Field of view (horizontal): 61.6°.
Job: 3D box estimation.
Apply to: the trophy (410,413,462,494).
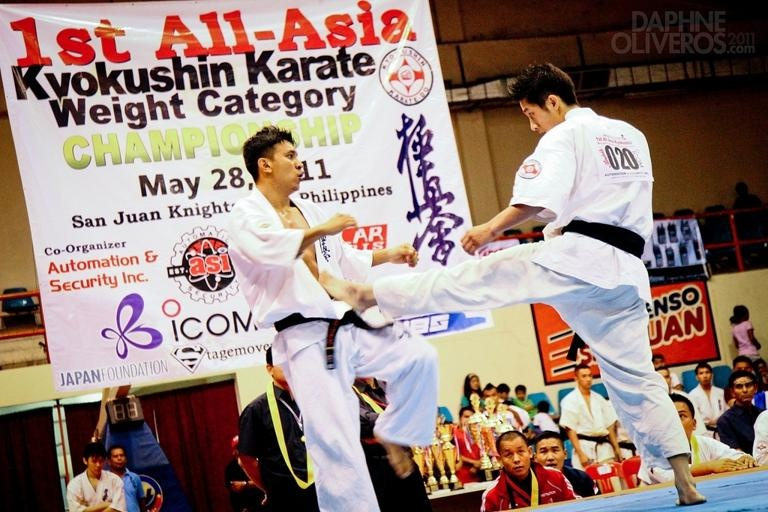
[{"bbox_3d":[0.552,2.156,6.907,0.551,0.952,0.512,0,1,-1],"label":"trophy"}]
